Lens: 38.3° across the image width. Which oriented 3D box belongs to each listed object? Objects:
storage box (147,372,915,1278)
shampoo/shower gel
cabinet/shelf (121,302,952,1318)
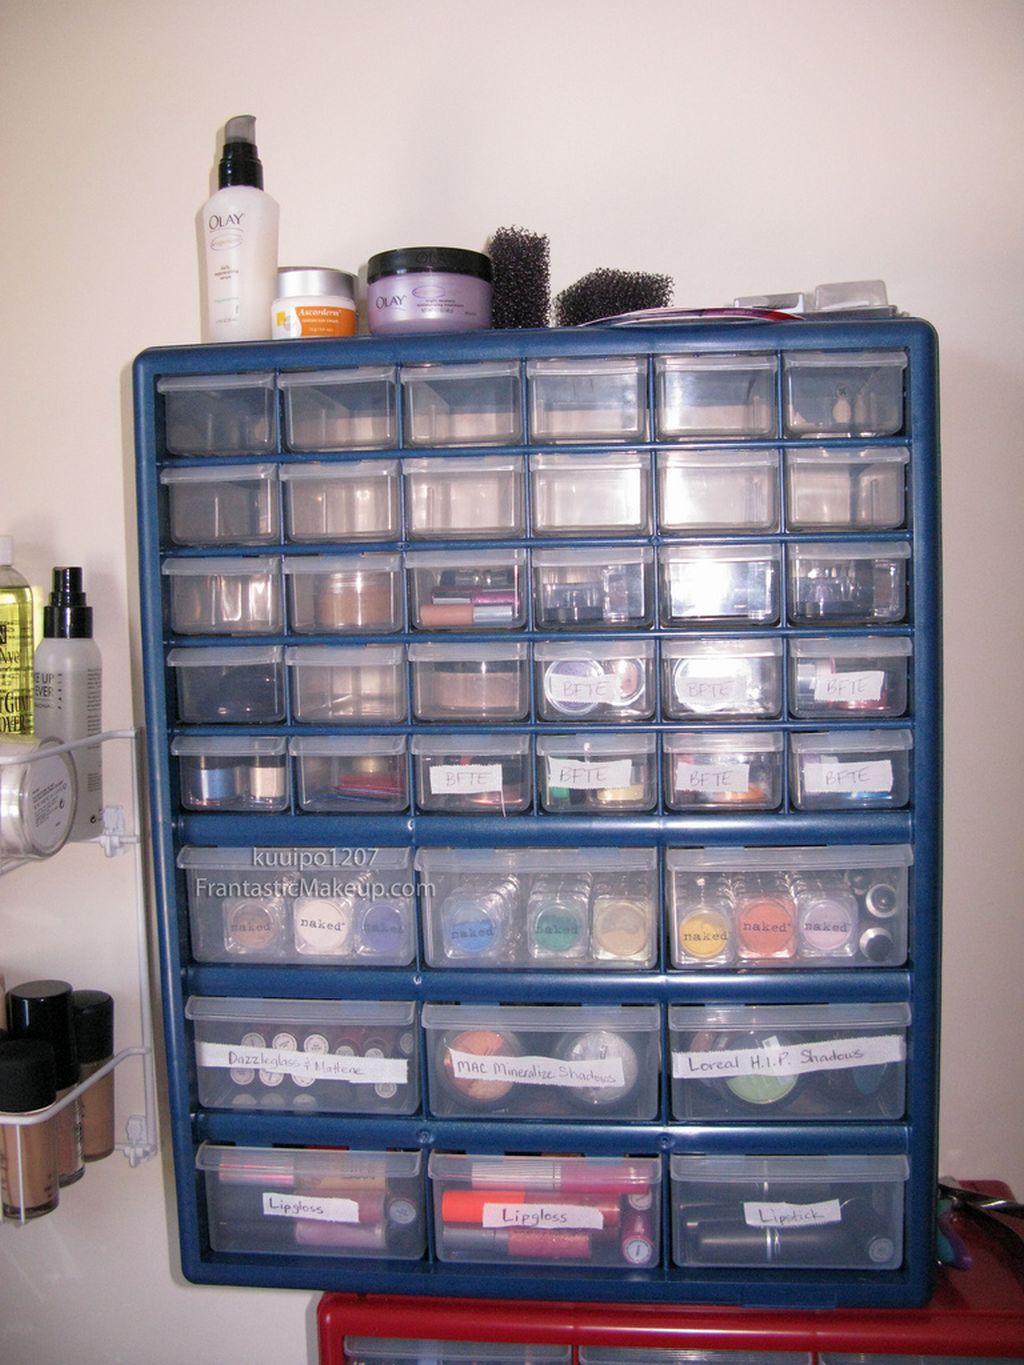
[{"bbox_3d":[0.039,0.116,1.313,0.596,0.878,0.364,2,9,8],"label":"storage box"},{"bbox_3d":[-0.252,-0.414,1.400,0.074,0.226,0.072,3,16,6],"label":"shampoo/shower gel"},{"bbox_3d":[0.034,0.122,1.355,0.710,0.881,0.179,-3,7,6],"label":"cabinet/shelf"}]
